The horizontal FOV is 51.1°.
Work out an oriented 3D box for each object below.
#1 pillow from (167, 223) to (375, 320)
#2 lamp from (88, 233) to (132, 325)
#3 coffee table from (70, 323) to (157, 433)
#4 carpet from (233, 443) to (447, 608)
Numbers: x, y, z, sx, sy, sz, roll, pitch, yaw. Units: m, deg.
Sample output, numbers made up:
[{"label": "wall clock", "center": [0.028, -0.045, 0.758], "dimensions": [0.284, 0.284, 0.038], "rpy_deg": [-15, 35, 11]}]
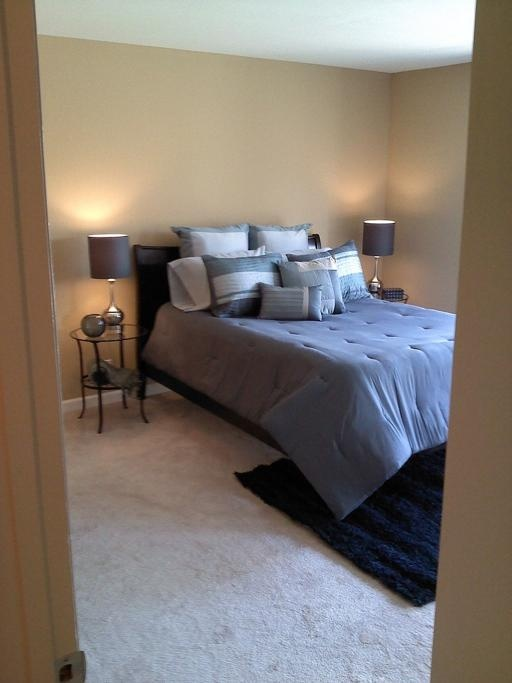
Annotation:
[{"label": "pillow", "center": [0.102, -0.530, 3.868], "dimensions": [1.418, 0.598, 1.044], "rpy_deg": [-4, 14, -16]}, {"label": "lamp", "center": [-0.960, -0.396, 3.571], "dimensions": [0.285, 0.589, 0.279], "rpy_deg": [-2, 9, -4]}, {"label": "coffee table", "center": [-0.966, 0.247, 3.585], "dimensions": [0.559, 0.619, 0.535], "rpy_deg": [6, 13, 15]}, {"label": "carpet", "center": [0.433, 0.703, 2.339], "dimensions": [0.682, 0.041, 0.620], "rpy_deg": [-11, 19, -39]}]
